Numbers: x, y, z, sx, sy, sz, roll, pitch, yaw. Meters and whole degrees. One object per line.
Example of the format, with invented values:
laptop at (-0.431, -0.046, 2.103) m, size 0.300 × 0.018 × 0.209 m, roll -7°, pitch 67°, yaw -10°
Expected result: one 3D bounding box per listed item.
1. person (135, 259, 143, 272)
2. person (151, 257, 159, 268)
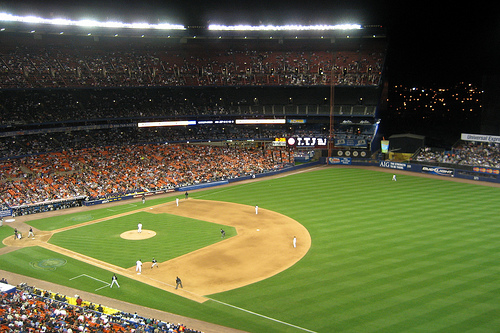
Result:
person at (-12.323, 10.806, 50.892) m, size 0.749 × 1.406 × 1.579 m, roll -2°, pitch 16°, yaw -13°
person at (-10.717, 10.644, 51.495) m, size 0.758 × 1.132 × 1.150 m, roll -1°, pitch 16°, yaw -12°
